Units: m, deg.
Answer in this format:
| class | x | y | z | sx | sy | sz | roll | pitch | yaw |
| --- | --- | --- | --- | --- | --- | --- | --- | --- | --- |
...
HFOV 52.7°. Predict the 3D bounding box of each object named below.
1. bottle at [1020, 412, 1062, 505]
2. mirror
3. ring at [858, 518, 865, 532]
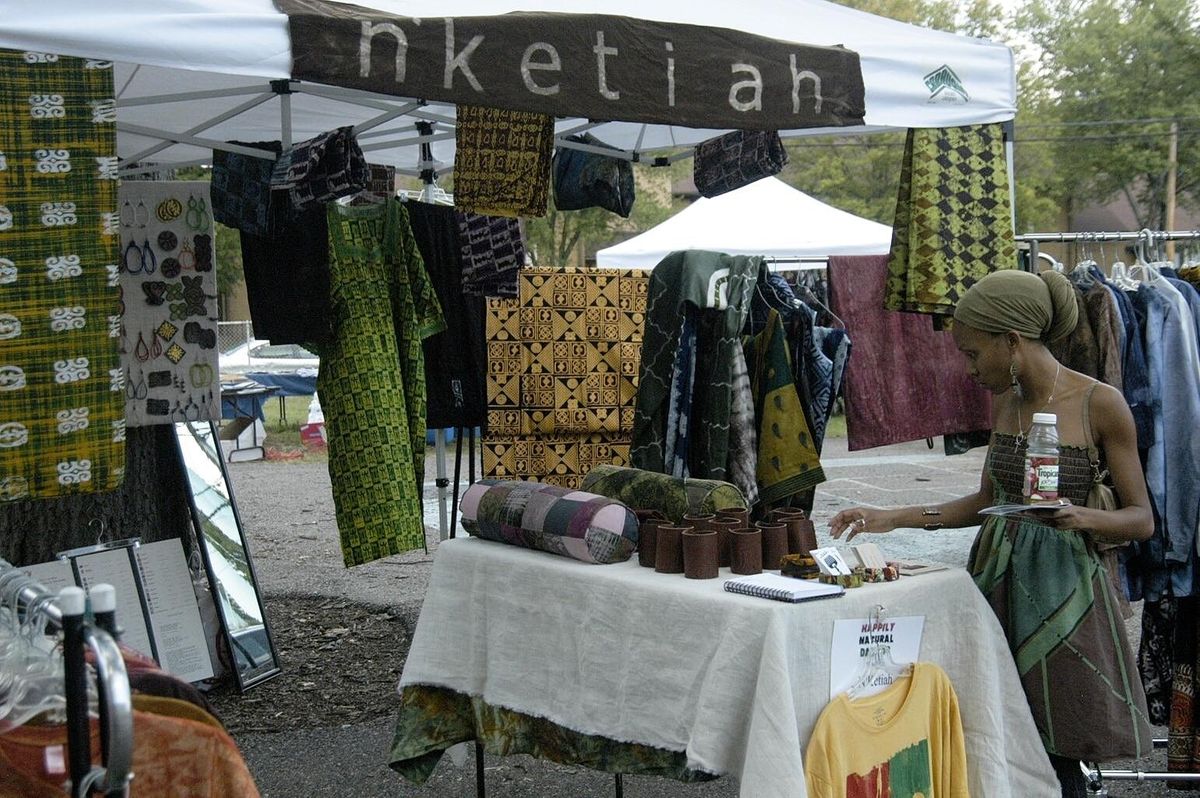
| class | x | y | z | sx | sy | sz | roll | pitch | yaw |
| --- | --- | --- | --- | --- | --- | --- | --- | --- | --- |
| bottle | 1.685 | 0.230 | 4.627 | 0.114 | 0.340 | 0.160 | 1 | 11 | 17 |
| mirror | -2.246 | 0.891 | 7.313 | 0.406 | 1.495 | 0.903 | -8 | 12 | -29 |
| ring | 1.061 | 0.526 | 4.966 | 0.037 | 0.037 | 0.029 | -2 | 4 | 6 |
